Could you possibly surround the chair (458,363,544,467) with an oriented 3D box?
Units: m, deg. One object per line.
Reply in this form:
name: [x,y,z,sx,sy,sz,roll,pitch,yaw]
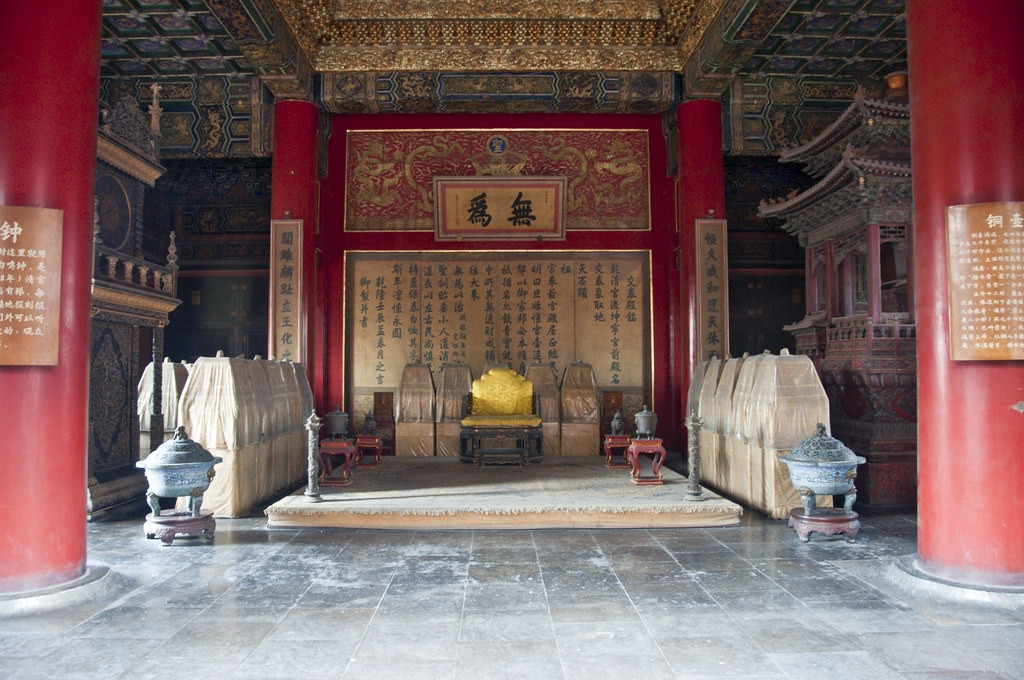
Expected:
chair: [-0.117,0.808,8.795,1.041,0.950,1.013,1,1,10]
